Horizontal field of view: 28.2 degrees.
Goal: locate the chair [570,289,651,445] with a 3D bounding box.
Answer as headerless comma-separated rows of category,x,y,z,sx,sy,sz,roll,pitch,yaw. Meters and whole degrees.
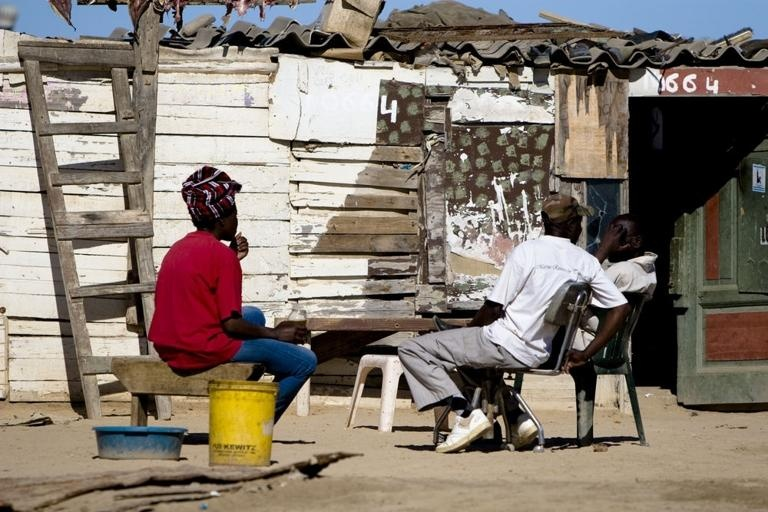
chair,2.316,1.090,15.306,0.886,1.386,1.077,0,-7,10

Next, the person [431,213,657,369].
person,1.517,0.346,15.404,1.350,1.702,1.181,0,-4,6

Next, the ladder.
ladder,-3.169,-0.372,17.260,2.210,3.749,2.049,1,-4,-11

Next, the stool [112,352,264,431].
stool,-1.846,1.311,14.633,0.990,0.422,0.281,1,3,14

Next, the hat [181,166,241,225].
hat,-1.674,-0.596,14.571,0.360,0.642,0.573,3,8,36

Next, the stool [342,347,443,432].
stool,0.076,1.466,16.304,0.931,0.778,0.856,3,-4,-28

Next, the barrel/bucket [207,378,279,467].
barrel/bucket,-1.280,1.542,13.961,0.616,0.778,0.211,1,1,-8

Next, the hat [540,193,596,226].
hat,1.796,-0.456,14.778,0.434,0.184,0.287,-12,18,-8
